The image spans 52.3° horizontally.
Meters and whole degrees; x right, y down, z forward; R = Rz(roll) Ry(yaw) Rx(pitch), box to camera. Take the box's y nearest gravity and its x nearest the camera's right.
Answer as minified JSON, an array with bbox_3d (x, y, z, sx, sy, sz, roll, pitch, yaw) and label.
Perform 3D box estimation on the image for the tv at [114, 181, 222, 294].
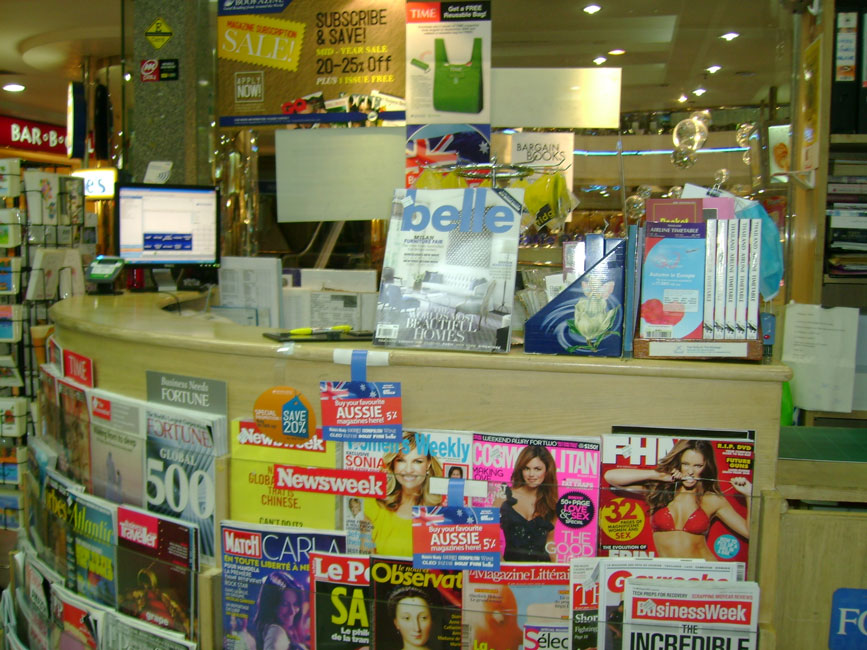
[{"bbox_3d":[-1.397,-0.499,4.644,0.589,0.698,0.203,-1,-2,-31],"label":"tv"}]
